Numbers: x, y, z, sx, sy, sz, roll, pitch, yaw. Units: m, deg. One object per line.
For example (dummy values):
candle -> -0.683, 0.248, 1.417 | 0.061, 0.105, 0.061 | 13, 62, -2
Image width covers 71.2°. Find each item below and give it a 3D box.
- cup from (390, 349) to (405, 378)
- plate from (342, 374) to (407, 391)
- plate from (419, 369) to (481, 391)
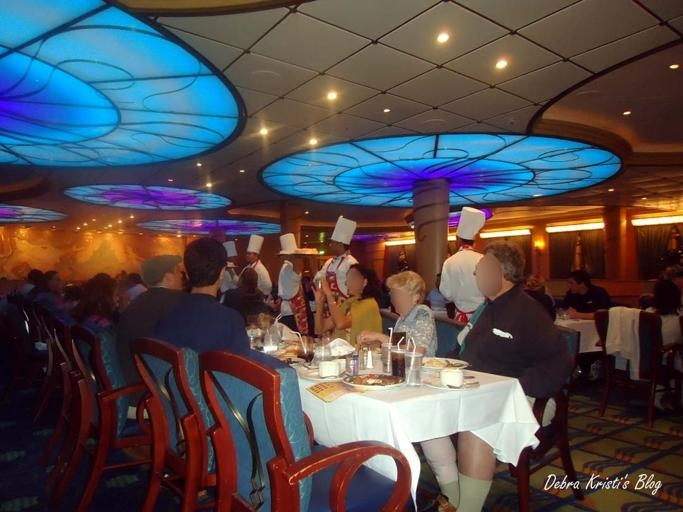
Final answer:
cup -> 0.333, 0.610, 2.712 | 0.069, 0.158, 0.108 | 0, -3, -15
plate -> 0.179, 0.702, 2.673 | 0.342, 0.061, 0.223 | -1, -3, 3
plate -> 0.628, 0.703, 2.744 | 0.331, 0.067, 0.352 | -1, -3, 6
